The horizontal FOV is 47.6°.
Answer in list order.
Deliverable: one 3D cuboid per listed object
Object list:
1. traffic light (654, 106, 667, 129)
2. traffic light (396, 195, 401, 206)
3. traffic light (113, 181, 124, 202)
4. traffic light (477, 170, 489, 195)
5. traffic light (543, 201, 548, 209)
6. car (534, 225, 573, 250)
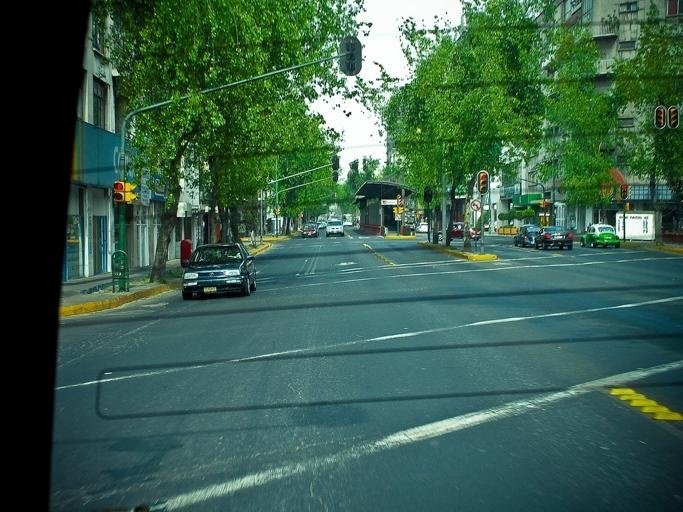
[{"bbox_3d":[12.406,-5.464,30.096,0.366,0.918,1.303,0,3,19],"label":"traffic light"},{"bbox_3d":[5.577,-5.377,74.325,0.338,1.008,1.855,0,3,10],"label":"traffic light"},{"bbox_3d":[-5.971,-1.752,20.930,0.280,0.540,0.401,-1,3,-8],"label":"traffic light"},{"bbox_3d":[6.623,-3.479,36.132,0.462,1.130,1.696,0,3,8],"label":"traffic light"},{"bbox_3d":[18.203,-4.621,69.222,0.484,0.660,1.801,7,7,13],"label":"traffic light"},{"bbox_3d":[13.024,-1.115,47.415,1.789,1.421,2.769,-1,3,-6],"label":"car"}]
